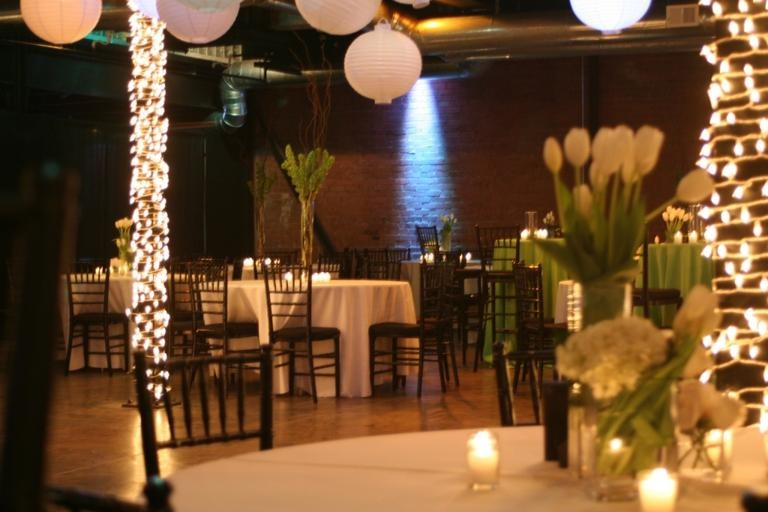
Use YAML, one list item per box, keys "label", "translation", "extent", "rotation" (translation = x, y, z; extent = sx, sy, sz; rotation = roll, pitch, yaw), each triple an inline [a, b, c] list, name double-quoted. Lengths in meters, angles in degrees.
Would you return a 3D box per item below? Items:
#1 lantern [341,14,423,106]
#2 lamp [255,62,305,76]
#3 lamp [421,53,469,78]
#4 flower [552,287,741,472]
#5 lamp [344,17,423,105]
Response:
- label: "lantern"
  translation: [-0.014, -1.357, 5.884]
  extent: [0.569, 0.635, 0.593]
  rotation: [-4, 10, -18]
- label: "lamp"
  translation: [-1.458, -2.487, 11.189]
  extent: [0.342, 0.087, 0.369]
  rotation: [3, 1, 41]
- label: "lamp"
  translation: [0.815, -2.490, 11.017]
  extent: [0.750, 0.265, 0.344]
  rotation: [2, 5, 32]
- label: "flower"
  translation: [0.562, 0.320, 2.113]
  extent: [0.405, 0.506, 0.485]
  rotation: [3, -5, -27]
- label: "lamp"
  translation: [-0.005, -1.329, 5.878]
  extent: [0.583, 0.609, 0.548]
  rotation: [-3, 13, -11]
